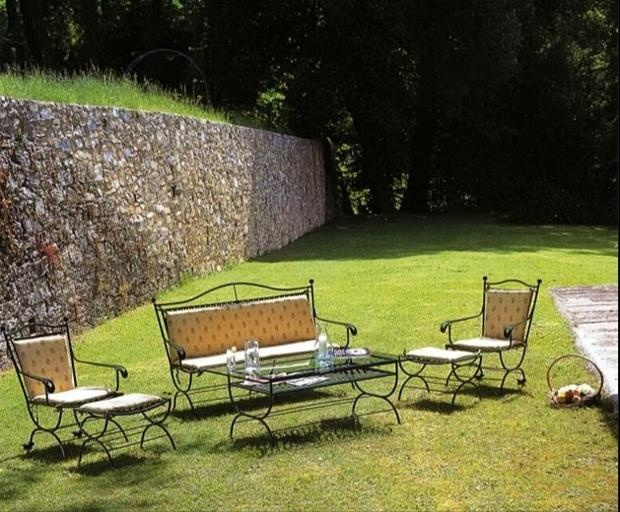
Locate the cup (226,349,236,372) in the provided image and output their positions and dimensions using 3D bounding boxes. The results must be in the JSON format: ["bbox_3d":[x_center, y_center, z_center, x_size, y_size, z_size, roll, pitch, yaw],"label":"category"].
[{"bbox_3d":[-0.891,1.185,9.475,0.093,0.270,0.221,-2,9,-10],"label":"cup"}]

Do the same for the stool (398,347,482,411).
[{"bbox_3d":[1.684,1.364,10.387,0.854,0.743,0.742,4,8,31],"label":"stool"}]
